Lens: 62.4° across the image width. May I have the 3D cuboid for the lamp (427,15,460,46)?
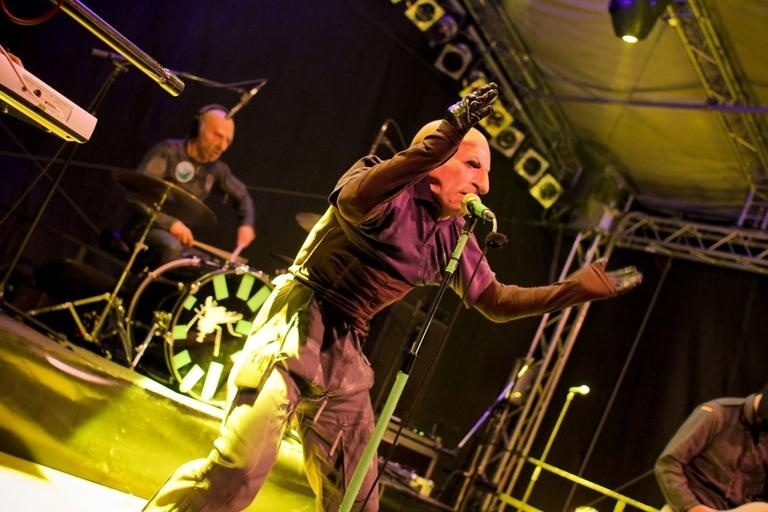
[{"bbox_3d":[0.829,-3.127,8.753,0.257,0.258,0.419,2,-31,-33],"label":"lamp"}]

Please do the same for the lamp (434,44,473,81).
[{"bbox_3d":[0.973,-2.773,9.139,0.426,0.495,0.464,33,3,-1],"label":"lamp"}]

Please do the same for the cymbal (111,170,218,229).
[{"bbox_3d":[-2.209,-0.569,6.411,0.697,0.360,0.725,23,-20,7],"label":"cymbal"}]

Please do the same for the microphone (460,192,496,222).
[{"bbox_3d":[0.635,-0.331,4.171,0.109,0.102,0.318,54,-9,-25],"label":"microphone"}]

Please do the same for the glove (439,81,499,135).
[{"bbox_3d":[0.547,-0.882,3.865,0.222,0.353,0.127,47,-10,17],"label":"glove"}]

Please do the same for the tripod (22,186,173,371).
[{"bbox_3d":[-2.937,0.261,6.503,0.948,1.687,1.172,39,-6,5],"label":"tripod"}]

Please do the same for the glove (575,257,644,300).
[{"bbox_3d":[1.557,0.142,4.390,0.401,0.258,0.177,-10,-47,-4],"label":"glove"}]
